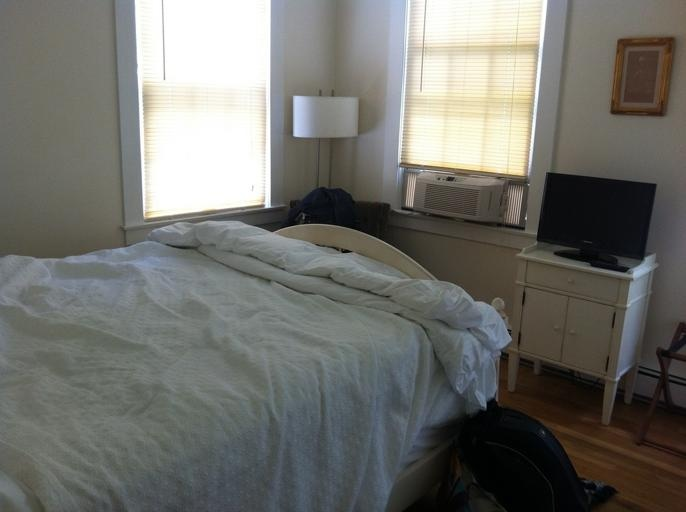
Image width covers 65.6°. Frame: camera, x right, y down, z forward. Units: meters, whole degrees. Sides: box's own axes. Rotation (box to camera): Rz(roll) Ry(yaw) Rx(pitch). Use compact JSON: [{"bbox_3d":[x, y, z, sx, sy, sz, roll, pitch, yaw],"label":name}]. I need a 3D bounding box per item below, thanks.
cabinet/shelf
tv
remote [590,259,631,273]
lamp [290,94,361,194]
[{"bbox_3d":[1.413,0.422,3.219,0.723,0.900,0.495,11,19,31],"label":"cabinet/shelf"},{"bbox_3d":[1.504,-0.230,3.095,0.434,0.342,0.123,16,11,30],"label":"tv"},{"bbox_3d":[1.512,0.050,3.009,0.201,0.025,0.164,10,19,27],"label":"remote"},{"bbox_3d":[-0.127,-0.872,4.106,0.491,0.736,0.502,1,16,1],"label":"lamp"}]
